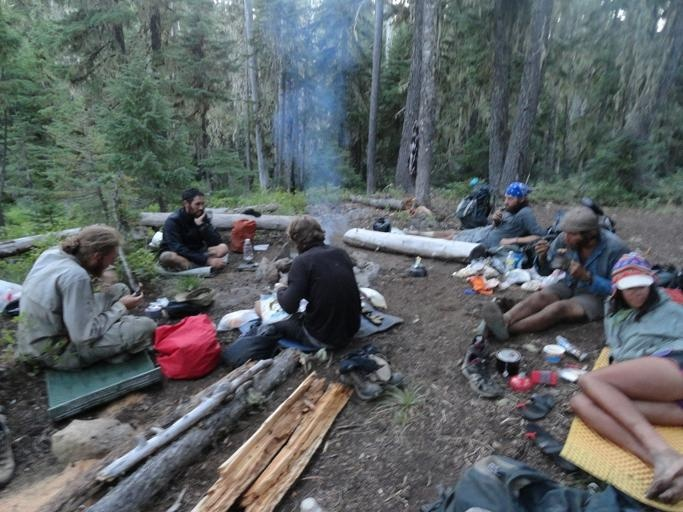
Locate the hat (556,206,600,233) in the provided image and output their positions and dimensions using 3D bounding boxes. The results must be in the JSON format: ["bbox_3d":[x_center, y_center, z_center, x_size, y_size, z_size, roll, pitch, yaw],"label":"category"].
[{"bbox_3d":[2.770,-0.434,5.143,0.295,0.225,0.405,-20,19,-19],"label":"hat"}]

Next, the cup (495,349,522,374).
[{"bbox_3d":[1.807,1.130,4.734,0.239,0.230,0.291,4,18,28],"label":"cup"}]

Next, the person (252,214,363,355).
[{"bbox_3d":[-0.293,0.335,5.448,1.036,1.597,1.070,8,12,40],"label":"person"}]

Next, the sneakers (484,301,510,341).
[{"bbox_3d":[1.800,0.770,5.198,0.231,0.546,0.221,-17,0,7],"label":"sneakers"}]

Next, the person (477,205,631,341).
[{"bbox_3d":[2.609,0.179,5.271,1.847,1.401,0.883,-13,16,-21],"label":"person"}]

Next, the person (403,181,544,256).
[{"bbox_3d":[2.666,-0.668,7.765,1.597,0.983,1.071,1,17,29],"label":"person"}]

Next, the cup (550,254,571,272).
[{"bbox_3d":[2.978,0.094,5.950,0.168,0.251,0.234,-15,-4,-43],"label":"cup"}]

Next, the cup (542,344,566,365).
[{"bbox_3d":[2.328,1.076,4.771,0.184,0.149,0.195,-3,12,1],"label":"cup"}]

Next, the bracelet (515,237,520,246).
[{"bbox_3d":[2.937,-0.236,7.289,0.027,0.097,0.092,18,-27,-32],"label":"bracelet"}]

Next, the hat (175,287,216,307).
[{"bbox_3d":[-2.209,0.658,6.574,0.589,0.264,0.301,-10,17,-21],"label":"hat"}]

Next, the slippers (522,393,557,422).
[{"bbox_3d":[1.919,1.477,4.262,0.411,0.103,0.217,-15,19,-32],"label":"slippers"}]

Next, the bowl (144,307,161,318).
[{"bbox_3d":[-2.655,0.785,6.085,0.162,0.121,0.131,-8,-2,32],"label":"bowl"}]

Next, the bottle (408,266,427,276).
[{"bbox_3d":[1.305,0.251,7.457,0.344,0.143,0.243,-3,16,4],"label":"bottle"}]
